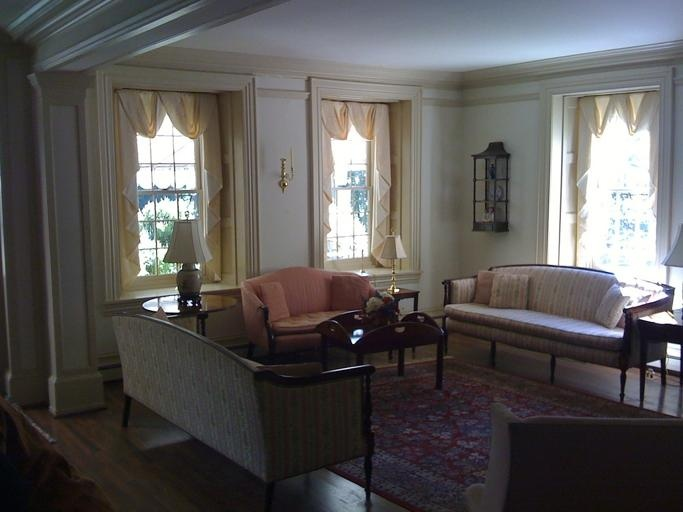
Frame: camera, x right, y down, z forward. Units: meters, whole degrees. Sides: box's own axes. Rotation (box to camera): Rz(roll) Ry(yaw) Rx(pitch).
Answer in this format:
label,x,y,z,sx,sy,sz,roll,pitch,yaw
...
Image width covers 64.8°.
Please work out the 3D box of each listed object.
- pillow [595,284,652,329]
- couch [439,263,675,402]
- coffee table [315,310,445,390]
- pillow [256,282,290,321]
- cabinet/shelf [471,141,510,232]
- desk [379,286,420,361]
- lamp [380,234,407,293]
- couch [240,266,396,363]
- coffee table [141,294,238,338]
label,x,y,z,sx,sy,sz,roll,pitch,yaw
pillow,2.988,0.525,5.787,0.617,0.423,0.435,-4,9,-23
couch,2.359,0.695,6.202,1.046,1.056,2.364,-2,6,-34
coffee table,0.568,1.020,5.407,0.887,0.586,0.660,-5,-8,-6
pillow,-0.741,0.514,6.098,0.154,0.386,0.373,-27,-8,39
cabinet/shelf,2.072,-0.946,7.478,0.335,1.198,0.488,-6,10,-21
desk,0.774,0.755,6.893,0.436,0.628,0.422,3,-3,10
lamp,0.669,0.110,6.885,0.362,0.689,0.328,0,2,37
couch,-0.320,0.688,6.324,1.663,0.953,0.857,-2,8,-35
coffee table,-1.512,0.519,5.394,0.601,0.379,0.600,-4,13,-24
